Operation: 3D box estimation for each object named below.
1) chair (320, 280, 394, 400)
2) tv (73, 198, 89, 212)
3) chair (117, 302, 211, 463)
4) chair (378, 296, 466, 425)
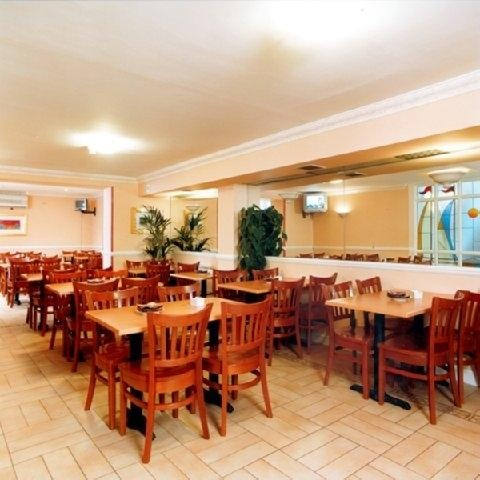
[{"bbox_3d":[1.074,0.920,3.628,0.614,0.764,0.585,0,-2,-15],"label":"chair"},{"bbox_3d":[-4.502,-0.990,11.092,0.445,0.352,0.234,1,0,42],"label":"tv"},{"bbox_3d":[-0.522,0.890,2.788,0.664,0.965,0.811,-1,4,-17],"label":"chair"},{"bbox_3d":[1.473,0.914,3.231,0.556,0.883,0.566,0,-2,39],"label":"chair"}]
